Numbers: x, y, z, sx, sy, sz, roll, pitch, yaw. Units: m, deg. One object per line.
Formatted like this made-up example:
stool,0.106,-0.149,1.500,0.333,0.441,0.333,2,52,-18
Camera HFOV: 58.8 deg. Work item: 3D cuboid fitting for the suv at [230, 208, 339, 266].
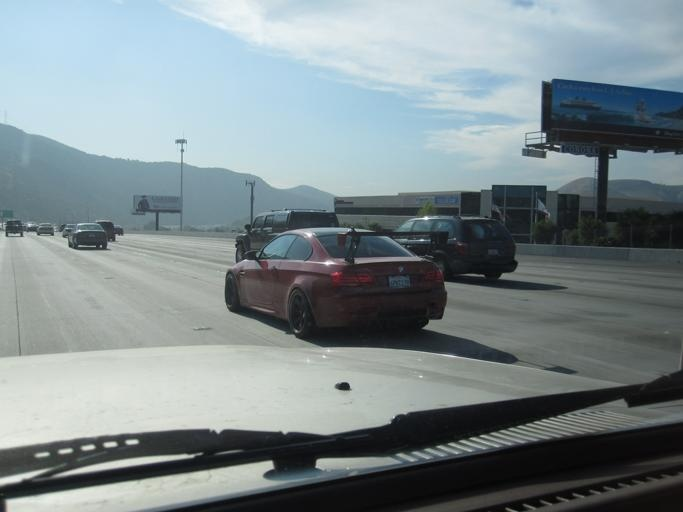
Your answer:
suv,-2.263,-0.803,21.238,1.880,1.515,3.228,-4,7,-40

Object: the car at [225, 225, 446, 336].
car,-0.410,0.316,9.345,1.474,1.025,3.078,-1,8,-35

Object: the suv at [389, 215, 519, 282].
suv,3.450,-0.075,16.638,1.814,1.373,3.970,-1,9,-32
